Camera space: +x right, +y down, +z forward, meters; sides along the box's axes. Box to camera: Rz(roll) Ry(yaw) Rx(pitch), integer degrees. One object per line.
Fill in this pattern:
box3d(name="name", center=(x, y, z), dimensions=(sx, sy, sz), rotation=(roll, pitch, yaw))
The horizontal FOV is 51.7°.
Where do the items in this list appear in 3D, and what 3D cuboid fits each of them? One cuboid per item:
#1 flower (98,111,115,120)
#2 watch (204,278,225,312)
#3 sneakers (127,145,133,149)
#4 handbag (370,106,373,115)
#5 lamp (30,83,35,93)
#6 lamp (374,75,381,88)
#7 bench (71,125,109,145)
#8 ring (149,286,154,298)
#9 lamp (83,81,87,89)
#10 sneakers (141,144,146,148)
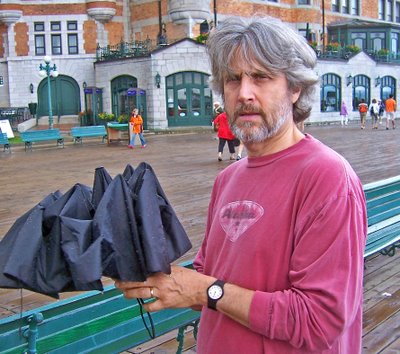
box3d(name="flower", center=(-7.147, -4.721, 31.841), dimensions=(0.764, 0.601, 0.765), rotation=(-5, 22, -30))
box3d(name="watch", center=(0.052, 0.385, 1.371), dimensions=(0.056, 0.104, 0.089), rotation=(-2, -15, 7))
box3d(name="sneakers", center=(-3.172, -1.404, 18.918), dimensions=(0.132, 0.133, 0.327), rotation=(0, 17, -29))
box3d(name="handbag", center=(10.922, -4.234, 26.214), dimensions=(0.217, 0.484, 0.438), rotation=(1, 9, 19))
box3d(name="lamp", center=(-14.405, -7.662, 35.597), dimensions=(0.366, 0.865, 0.195), rotation=(-5, 9, -20))
box3d(name="lamp", center=(17.469, -9.398, 40.551), dimensions=(0.761, 1.008, 0.238), rotation=(-10, 11, -40))
box3d(name="bench", center=(-6.277, -2.517, 23.920), dimensions=(1.709, 0.907, 3.803), rotation=(-4, 10, -11))
box3d(name="ring", center=(-0.165, 0.386, 1.412), dimensions=(0.009, 0.044, 0.034), rotation=(-3, -1, -6))
box3d(name="lamp", center=(-9.600, -7.724, 34.699), dimensions=(0.358, 0.621, 0.733), rotation=(-4, 9, -16))
box3d(name="sneakers", center=(-2.607, -1.474, 19.326), dimensions=(0.125, 0.190, 0.358), rotation=(-15, 18, -36))
